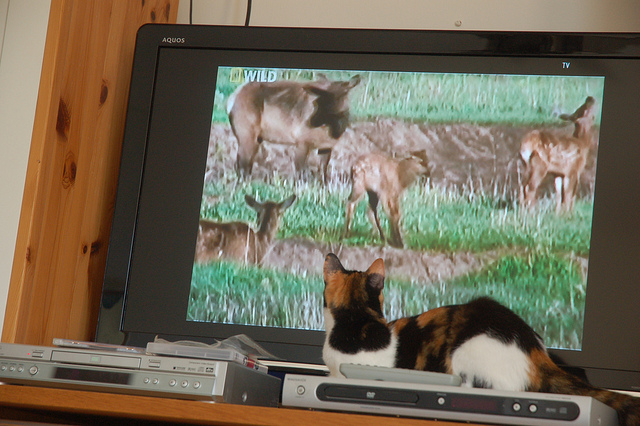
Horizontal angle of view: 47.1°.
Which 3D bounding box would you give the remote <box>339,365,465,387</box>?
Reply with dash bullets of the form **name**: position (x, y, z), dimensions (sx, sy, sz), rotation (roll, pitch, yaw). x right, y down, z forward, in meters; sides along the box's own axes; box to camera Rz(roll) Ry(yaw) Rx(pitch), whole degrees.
- **remote**: position (0.194, 0.405, 1.807), dimensions (0.299, 0.047, 0.054), rotation (6, 0, 7)
